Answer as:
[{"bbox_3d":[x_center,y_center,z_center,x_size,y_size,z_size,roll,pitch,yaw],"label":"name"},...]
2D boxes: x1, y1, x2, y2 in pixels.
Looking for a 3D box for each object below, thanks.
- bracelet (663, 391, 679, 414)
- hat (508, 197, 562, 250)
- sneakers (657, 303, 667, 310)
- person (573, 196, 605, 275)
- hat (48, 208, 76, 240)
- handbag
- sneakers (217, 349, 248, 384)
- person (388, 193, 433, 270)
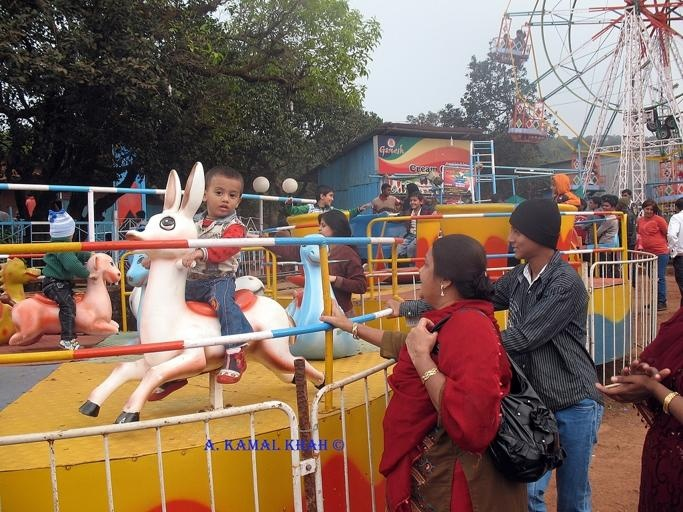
[{"bbox_3d":[1.682,0.749,3.120,0.074,0.106,0.053,1,2,-10],"label":"bracelet"},{"bbox_3d":[1.223,-0.223,3.789,0.302,0.271,0.308,21,28,14],"label":"hat"},{"bbox_3d":[5.816,0.935,11.082,0.227,0.106,0.093,2,-6,-17],"label":"sneakers"},{"bbox_3d":[4.381,-0.333,11.145,0.323,1.123,0.312,1,2,3],"label":"person"},{"bbox_3d":[-2.632,-0.294,5.725,0.203,0.283,0.332,0,2,-26],"label":"hat"},{"bbox_3d":[0.854,0.724,3.257,0.493,0.801,0.339,-11,-28,-35],"label":"handbag"},{"bbox_3d":[-0.674,0.684,3.786,0.105,0.133,0.297,-11,15,12],"label":"sneakers"},{"bbox_3d":[1.165,-0.566,10.300,0.577,1.161,0.654,0,-28,24],"label":"person"}]
